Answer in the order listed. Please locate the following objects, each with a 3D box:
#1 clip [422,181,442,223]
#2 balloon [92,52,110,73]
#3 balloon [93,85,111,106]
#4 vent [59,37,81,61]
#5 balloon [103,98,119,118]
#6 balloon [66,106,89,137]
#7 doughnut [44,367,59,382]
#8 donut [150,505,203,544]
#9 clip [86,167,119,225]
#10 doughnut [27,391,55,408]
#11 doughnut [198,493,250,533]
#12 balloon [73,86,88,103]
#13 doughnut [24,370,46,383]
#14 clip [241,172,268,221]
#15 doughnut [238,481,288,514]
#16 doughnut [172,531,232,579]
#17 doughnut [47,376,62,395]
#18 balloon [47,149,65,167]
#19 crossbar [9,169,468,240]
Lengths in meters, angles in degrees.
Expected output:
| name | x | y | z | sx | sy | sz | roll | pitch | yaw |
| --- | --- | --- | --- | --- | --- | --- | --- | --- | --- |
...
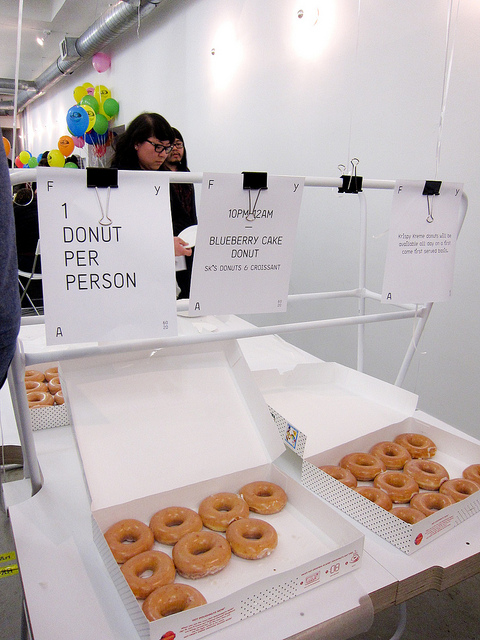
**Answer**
| name | x | y | z | sx | sy | sz | roll | pitch | yaw |
| --- | --- | --- | --- | --- | --- | --- | --- | --- | --- |
| clip | 0.425 | -0.267 | 0.951 | 0.040 | 0.094 | 0.044 | 3 | 7 | 3 |
| balloon | -1.805 | -3.416 | 5.538 | 0.254 | 0.255 | 0.238 | -14 | 22 | -39 |
| balloon | -1.774 | -2.931 | 5.495 | 0.180 | 0.236 | 0.269 | 3 | 25 | 6 |
| vent | -2.233 | -3.587 | 5.607 | 0.108 | 0.291 | 0.345 | -7 | 9 | -32 |
| balloon | -1.626 | -2.735 | 5.487 | 0.162 | 0.203 | 0.219 | -12 | 7 | 7 |
| balloon | -1.791 | -2.243 | 4.736 | 0.224 | 0.298 | 0.220 | -6 | 18 | -21 |
| doughnut | -0.547 | 0.147 | 1.250 | 0.038 | 0.016 | 0.042 | 4 | 28 | -10 |
| donut | -0.102 | 0.332 | 0.673 | 0.084 | 0.036 | 0.091 | -1 | 2 | -24 |
| clip | -0.184 | -0.171 | 0.581 | 0.042 | 0.075 | 0.016 | -7 | 17 | -24 |
| doughnut | -0.476 | 0.190 | 1.020 | 0.053 | 0.023 | 0.053 | 22 | 22 | 41 |
| doughnut | -0.029 | 0.328 | 0.720 | 0.085 | 0.042 | 0.102 | -3 | 1 | 0 |
| balloon | -2.050 | -2.953 | 5.519 | 0.150 | 0.229 | 0.169 | -2 | 4 | -3 |
| doughnut | -0.595 | 0.158 | 1.233 | 0.033 | 0.015 | 0.036 | 7 | 16 | 4 |
| clip | 0.023 | -0.202 | 0.698 | 0.044 | 0.090 | 0.006 | 4 | -10 | 7 |
| doughnut | 0.040 | 0.302 | 0.744 | 0.041 | 0.019 | 0.044 | 0 | 14 | -29 |
| doughnut | -0.054 | 0.336 | 0.602 | 0.082 | 0.050 | 0.088 | 0 | 18 | -2 |
| doughnut | -0.500 | 0.175 | 1.158 | 0.034 | 0.014 | 0.040 | 7 | 33 | 7 |
| balloon | -2.156 | -1.938 | 5.016 | 0.187 | 0.186 | 0.379 | -7 | 20 | -22 |
| crossbar | 0.083 | -0.242 | 0.889 | 0.980 | 0.130 | 0.253 | -11 | 21 | -29 |
